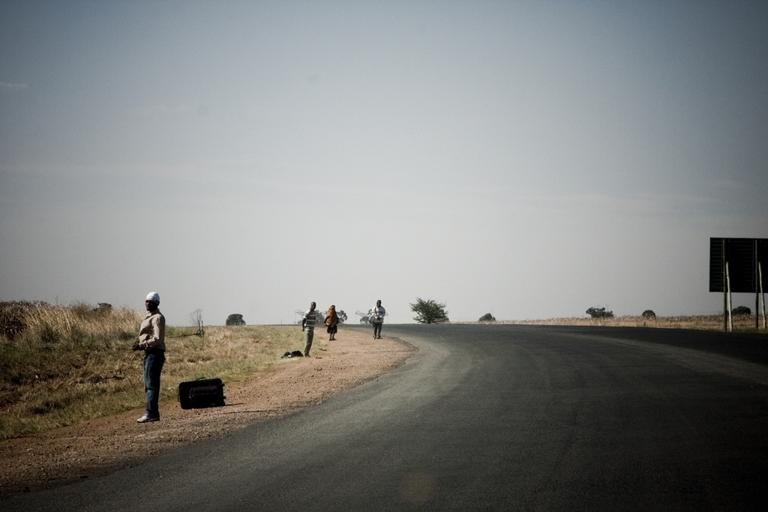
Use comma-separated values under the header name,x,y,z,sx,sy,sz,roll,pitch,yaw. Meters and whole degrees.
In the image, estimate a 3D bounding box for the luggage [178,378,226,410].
name,x,y,z,sx,sy,sz,roll,pitch,yaw
luggage,-5.221,3.916,18.165,1.235,0.801,0.529,0,-2,-15

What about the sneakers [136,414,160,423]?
name,x,y,z,sx,sy,sz,roll,pitch,yaw
sneakers,-6.136,4.215,16.547,0.630,0.271,0.243,4,-4,-3
